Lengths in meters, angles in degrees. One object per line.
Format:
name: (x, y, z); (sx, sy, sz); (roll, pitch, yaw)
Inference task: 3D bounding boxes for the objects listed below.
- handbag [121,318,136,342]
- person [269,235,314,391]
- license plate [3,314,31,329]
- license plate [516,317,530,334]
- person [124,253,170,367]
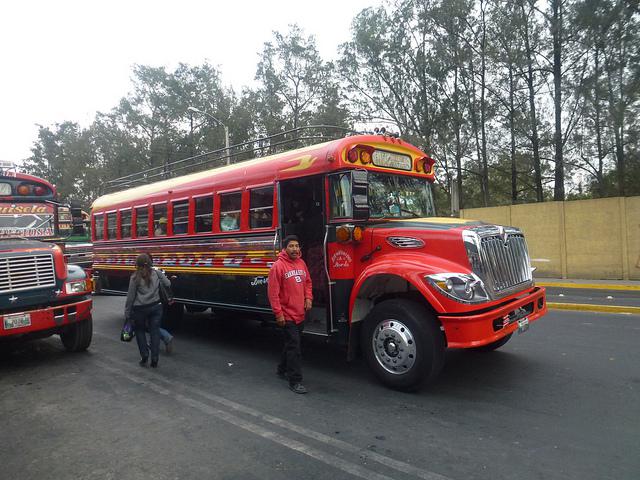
handbag: (-3.445, 1.646, 7.465); (0.217, 0.503, 0.403); (-3, 5, -25)
person: (-0.451, 1.121, 6.330); (0.603, 2.315, 0.639); (0, 5, 6)
license plate: (-5.041, 1.371, 6.899); (0.356, 0.205, 0.057); (-5, 6, -38)
license plate: (3.036, 1.279, 6.176); (0.201, 0.214, 0.298); (-5, -1, 27)
person: (-3.104, 1.264, 7.520); (0.797, 2.098, 0.660); (-4, 6, -31)
